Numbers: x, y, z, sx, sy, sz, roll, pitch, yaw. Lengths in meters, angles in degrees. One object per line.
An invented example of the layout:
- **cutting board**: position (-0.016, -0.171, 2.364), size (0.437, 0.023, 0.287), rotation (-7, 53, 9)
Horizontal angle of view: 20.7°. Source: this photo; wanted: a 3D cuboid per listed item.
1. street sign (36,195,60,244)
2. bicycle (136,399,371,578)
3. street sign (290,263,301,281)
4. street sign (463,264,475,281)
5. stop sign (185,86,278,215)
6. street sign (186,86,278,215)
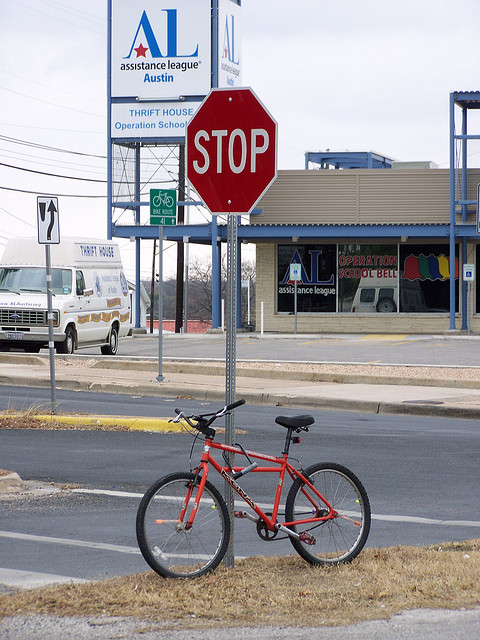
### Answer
- **street sign**: position (-2.176, -1.144, 14.820), size (0.235, 0.539, 0.405), rotation (0, 1, -11)
- **bicycle**: position (-0.057, 0.996, 7.932), size (1.417, 1.341, 0.736), rotation (3, -5, -28)
- **street sign**: position (1.428, -1.284, 34.399), size (0.229, 0.430, 0.824), rotation (0, 1, -1)
- **street sign**: position (5.736, -1.232, 33.066), size (0.246, 0.438, 1.675), rotation (0, 1, 9)
- **stop sign**: position (-0.062, -1.026, 7.905), size (0.639, 0.778, 0.301), rotation (1, 1, 38)
- **street sign**: position (-0.060, -1.045, 7.888), size (0.551, 0.099, 1.015), rotation (-1, -43, -2)
